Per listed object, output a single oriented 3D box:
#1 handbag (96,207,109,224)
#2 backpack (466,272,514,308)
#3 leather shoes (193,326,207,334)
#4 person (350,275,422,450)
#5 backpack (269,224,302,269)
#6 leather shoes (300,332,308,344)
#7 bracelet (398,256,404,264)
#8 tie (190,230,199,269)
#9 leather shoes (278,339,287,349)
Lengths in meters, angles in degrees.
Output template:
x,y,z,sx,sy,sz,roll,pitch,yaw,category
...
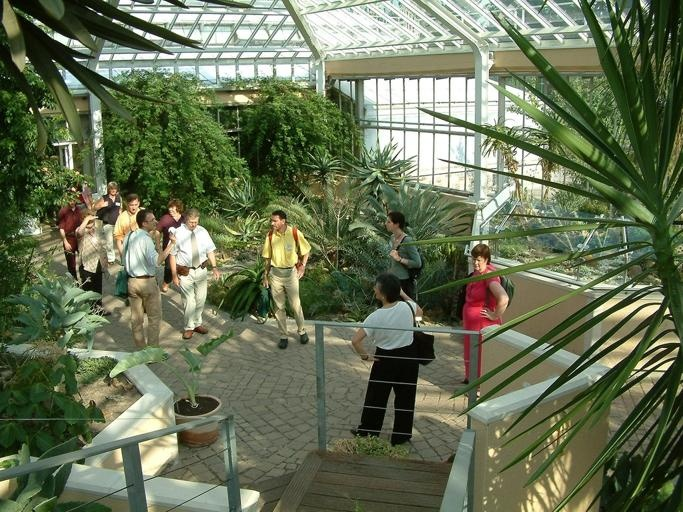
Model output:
x,y,z,sx,sy,sz,roll,pitch,yaw,category
-4.450,-0.758,10.326,0.290,0.259,0.068,-8,-2,18,handbag
1.811,0.405,6.712,0.616,0.553,0.425,3,6,10,backpack
-2.109,1.099,8.304,0.200,0.077,0.098,1,11,35,leather shoes
0.417,1.010,5.124,0.603,1.692,0.603,1,12,5,person
-0.650,-0.187,7.603,0.388,0.540,0.566,-1,10,-2,backpack
-0.530,1.168,7.915,0.174,0.117,0.313,-1,-2,-4,leather shoes
0.780,0.044,7.104,0.069,0.046,0.065,8,-12,-26,bracelet
-2.012,-0.076,7.626,0.102,0.498,0.060,-4,12,-18,tie
-0.815,1.224,7.814,0.074,0.072,0.177,2,11,-4,leather shoes
